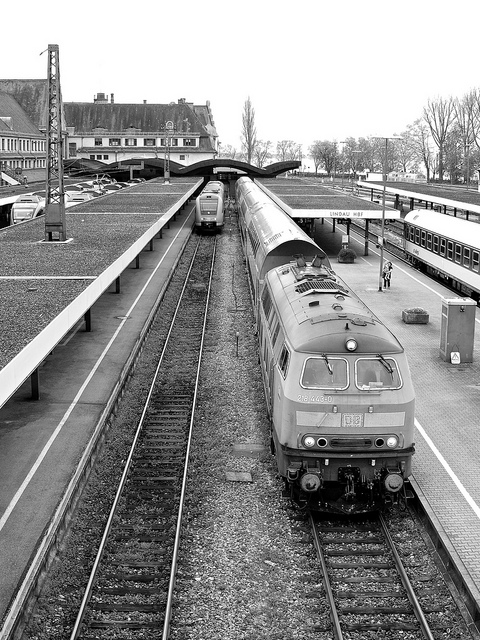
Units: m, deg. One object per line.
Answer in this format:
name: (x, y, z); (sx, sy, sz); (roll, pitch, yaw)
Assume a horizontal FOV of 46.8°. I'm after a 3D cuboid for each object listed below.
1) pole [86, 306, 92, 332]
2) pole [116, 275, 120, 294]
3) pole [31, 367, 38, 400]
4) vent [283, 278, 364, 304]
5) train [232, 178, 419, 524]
pole: (-6.220, 0.100, 22.684); (0.207, 0.895, 0.544); (-2, 8, -10)
pole: (-6.558, -1.629, 29.610); (0.171, 0.674, 0.606); (-2, 8, -10)
pole: (-5.737, 1.840, 15.414); (0.165, 0.867, 0.580); (-3, 8, -21)
vent: (1.775, -0.609, 12.485); (1.527, 0.408, 1.829); (0, 9, 4)
train: (1.501, -1.199, 16.577); (2.025, 3.856, 16.681); (-1, 22, -2)
